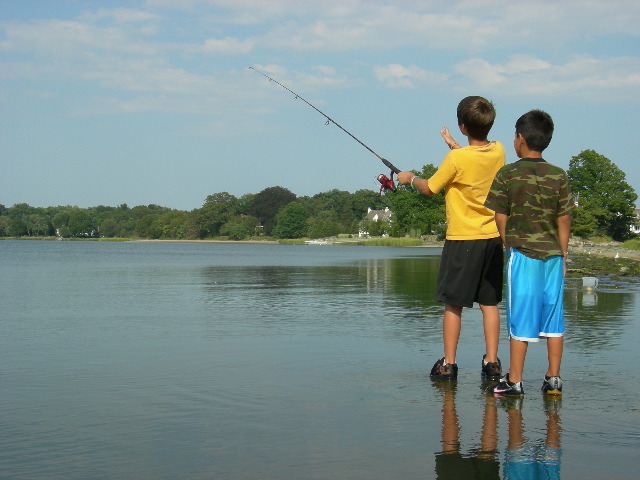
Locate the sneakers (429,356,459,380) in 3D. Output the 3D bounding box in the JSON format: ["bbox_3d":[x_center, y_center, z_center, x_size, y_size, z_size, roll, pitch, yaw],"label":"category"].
[{"bbox_3d":[1.113,1.152,7.702,0.243,0.179,0.237,0,1,5],"label":"sneakers"}]

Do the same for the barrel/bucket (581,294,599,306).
[{"bbox_3d":[4.738,1.037,15.010,0.261,0.224,0.263,1,3,0],"label":"barrel/bucket"}]

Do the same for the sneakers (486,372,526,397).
[{"bbox_3d":[1.527,1.195,7.088,0.132,0.115,0.308,-1,-1,-24],"label":"sneakers"}]

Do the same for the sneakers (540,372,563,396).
[{"bbox_3d":[1.920,1.190,7.078,0.157,0.163,0.231,0,1,14],"label":"sneakers"}]
